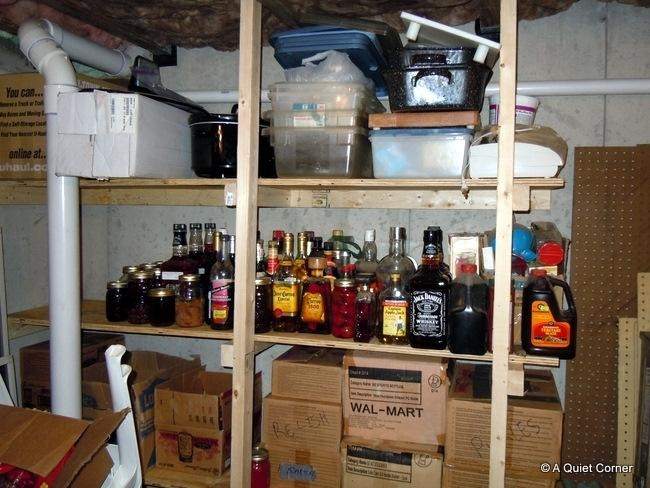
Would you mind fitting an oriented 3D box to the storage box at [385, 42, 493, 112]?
[{"bbox_3d":[0.456,-0.671,2.381,0.354,0.166,0.286,2,8,9],"label":"storage box"}]

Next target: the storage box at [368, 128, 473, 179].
[{"bbox_3d":[0.399,-0.382,2.449,0.355,0.146,0.227,3,8,14],"label":"storage box"}]

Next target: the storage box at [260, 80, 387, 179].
[{"bbox_3d":[-0.043,-0.480,2.452,0.362,0.279,0.489,2,6,12],"label":"storage box"}]

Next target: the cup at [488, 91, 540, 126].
[{"bbox_3d":[0.812,-0.574,2.508,0.187,0.123,0.173,1,7,0],"label":"cup"}]

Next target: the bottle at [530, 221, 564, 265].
[{"bbox_3d":[0.975,0.001,2.583,0.094,0.091,0.301,3,20,10],"label":"bottle"}]

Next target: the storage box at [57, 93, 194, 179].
[{"bbox_3d":[-0.938,-0.473,2.712,0.382,0.344,0.675,1,3,23],"label":"storage box"}]

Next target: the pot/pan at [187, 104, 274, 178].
[{"bbox_3d":[-0.485,-0.449,2.677,0.461,0.280,0.262,-1,5,-31],"label":"pot/pan"}]
